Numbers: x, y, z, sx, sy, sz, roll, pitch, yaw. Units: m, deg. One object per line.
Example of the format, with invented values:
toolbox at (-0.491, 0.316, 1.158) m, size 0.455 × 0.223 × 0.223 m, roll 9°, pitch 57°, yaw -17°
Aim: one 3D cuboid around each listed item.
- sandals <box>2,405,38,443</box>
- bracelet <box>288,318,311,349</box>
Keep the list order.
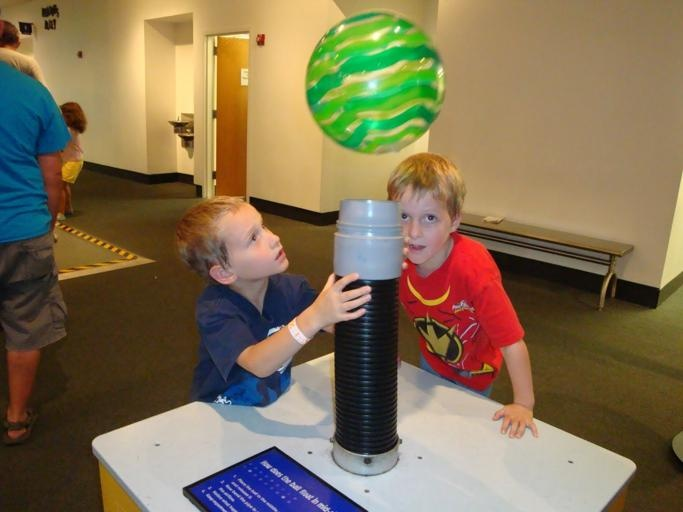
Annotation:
sandals at (-1.503, 0.800, 2.328) m, size 0.082 × 0.052 × 0.188 m, roll 11°, pitch 26°, yaw -23°
bracelet at (-0.108, 0.188, 1.243) m, size 0.027 × 0.058 × 0.056 m, roll -30°, pitch -16°, yaw 30°
